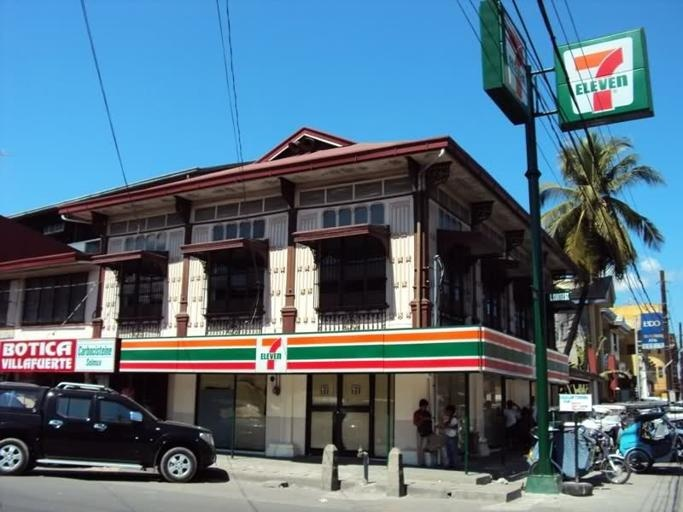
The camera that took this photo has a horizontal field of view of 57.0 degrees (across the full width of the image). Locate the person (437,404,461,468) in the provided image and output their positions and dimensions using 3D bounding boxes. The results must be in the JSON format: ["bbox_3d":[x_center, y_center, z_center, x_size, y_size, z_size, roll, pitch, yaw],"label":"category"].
[{"bbox_3d":[3.383,5.737,19.987,0.540,1.923,1.416,-2,-14,8],"label":"person"}]

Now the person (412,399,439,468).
[{"bbox_3d":[2.619,5.623,19.971,0.639,2.055,0.958,-6,-15,21],"label":"person"}]
